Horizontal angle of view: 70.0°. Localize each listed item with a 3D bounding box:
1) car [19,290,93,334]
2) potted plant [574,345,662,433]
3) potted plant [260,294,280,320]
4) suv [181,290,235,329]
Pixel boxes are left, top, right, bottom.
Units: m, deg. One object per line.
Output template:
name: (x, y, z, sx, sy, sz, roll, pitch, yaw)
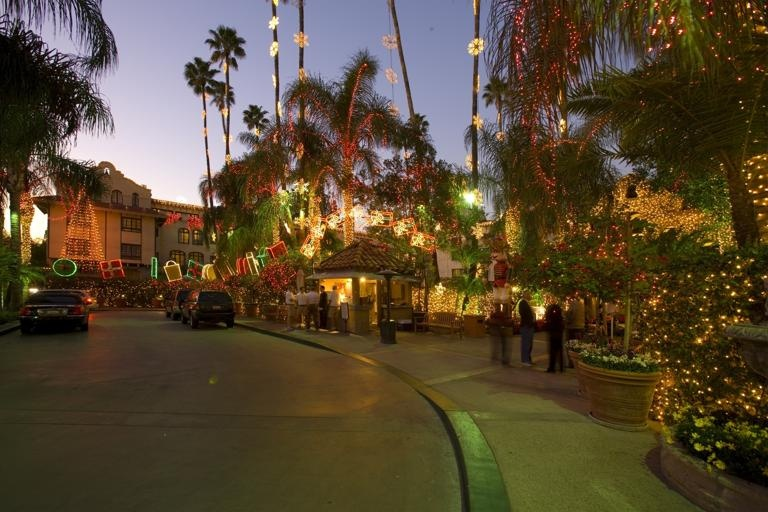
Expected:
car: (-13.426, 2.146, 22.518, 1.379, 1.052, 3.291, 2, 2, -26)
potted plant: (4.627, 2.568, 10.942, 1.348, 1.225, 1.343, 5, -5, -42)
potted plant: (-5.959, 2.714, 29.090, 1.172, 1.038, 1.251, 0, -8, 8)
suv: (-8.429, 2.424, 26.035, 1.361, 1.219, 2.991, 2, -2, -27)
